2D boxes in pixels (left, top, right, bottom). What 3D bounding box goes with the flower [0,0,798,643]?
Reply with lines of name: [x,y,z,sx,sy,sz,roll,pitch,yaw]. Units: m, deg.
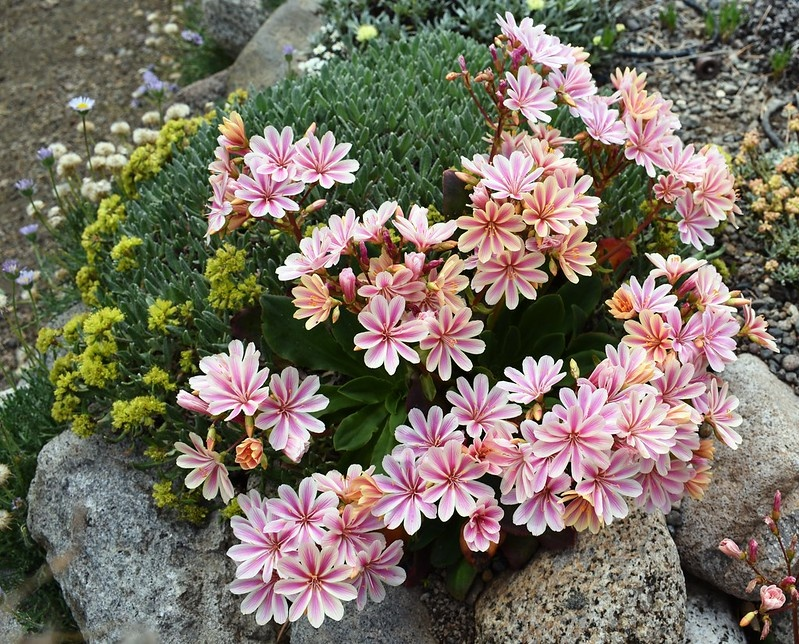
flower: [0.246,0.338,3.274,2.188,1.022,2.244,-25,76,-1]
